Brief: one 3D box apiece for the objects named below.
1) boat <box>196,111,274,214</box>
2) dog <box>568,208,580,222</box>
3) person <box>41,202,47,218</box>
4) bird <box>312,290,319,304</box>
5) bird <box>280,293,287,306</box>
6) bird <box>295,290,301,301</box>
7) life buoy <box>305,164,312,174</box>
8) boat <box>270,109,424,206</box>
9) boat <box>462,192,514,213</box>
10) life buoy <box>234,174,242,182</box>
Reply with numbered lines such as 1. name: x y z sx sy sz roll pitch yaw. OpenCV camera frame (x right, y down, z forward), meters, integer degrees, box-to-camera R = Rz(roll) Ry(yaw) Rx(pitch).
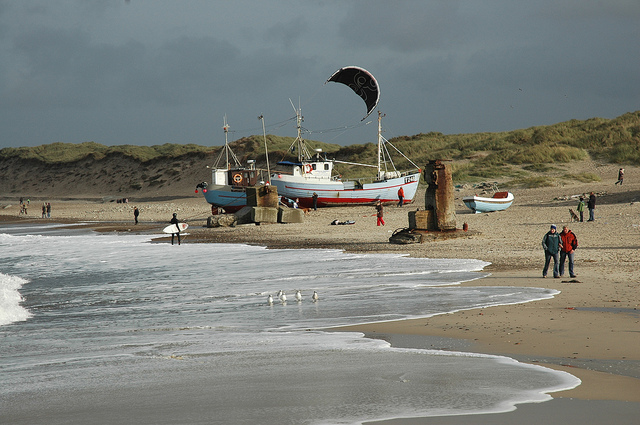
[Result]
1. boat: -5.761 -2.897 71.353 2.836 6.056 8.375 4 6 42
2. dog: 12.728 0.195 49.807 0.462 0.671 1.799 -1 12 13
3. person: -23.428 -0.119 84.514 0.660 1.035 0.344 -3 14 -17
4. bird: -0.178 2.897 33.723 0.141 0.389 0.174 2 10 5
5. bird: -1.243 2.959 33.864 0.201 0.343 0.535 -5 13 -5
6. bird: -0.743 2.859 34.074 0.173 0.364 0.504 -5 13 -3
7. life buoy: -0.718 -3.018 69.486 0.555 0.456 0.127 0 3 -25
8. boat: 2.029 -3.682 71.370 12.445 5.973 3.732 -2 10 -25
9. boat: 10.026 -0.520 58.691 2.465 1.058 1.479 -8 14 -24
10. life buoy: -5.695 -2.392 69.745 0.587 0.561 0.180 -13 16 -38
